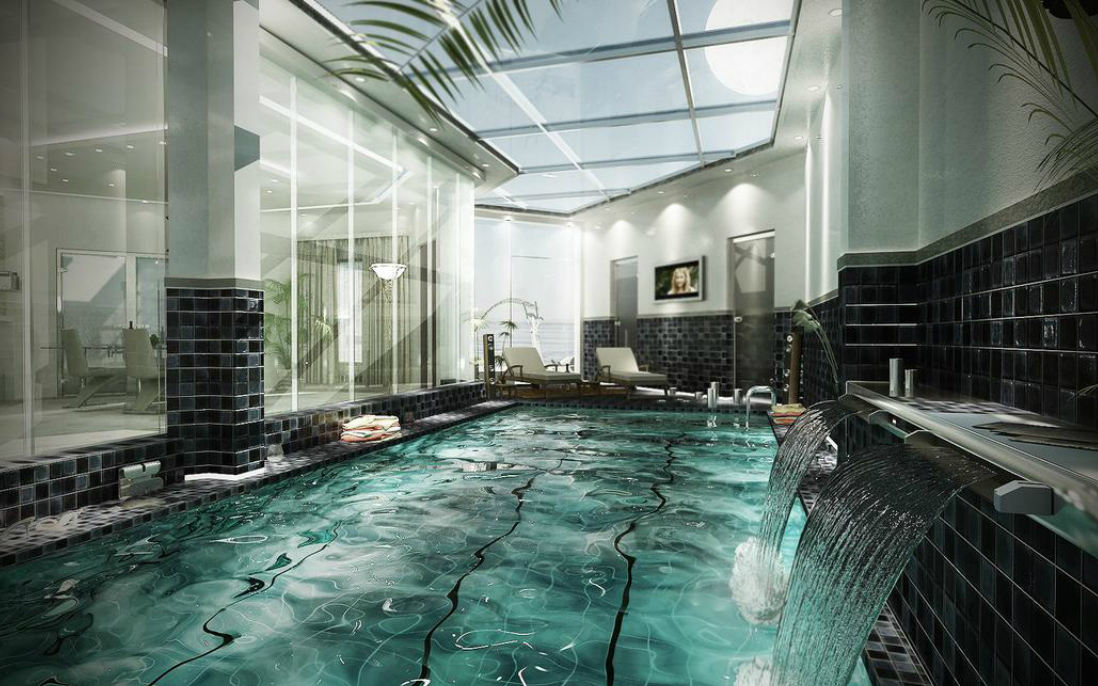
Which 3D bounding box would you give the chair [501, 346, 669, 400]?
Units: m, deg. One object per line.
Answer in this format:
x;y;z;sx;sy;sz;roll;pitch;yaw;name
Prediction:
0.554;0.526;11.472;2.985;0.834;1.520;1;8;-3;chair

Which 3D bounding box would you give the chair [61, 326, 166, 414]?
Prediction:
-3.338;0.204;4.659;0.678;0.692;0.585;1;-1;-44;chair

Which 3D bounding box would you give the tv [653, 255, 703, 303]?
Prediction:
2.642;-1.263;12.120;0.154;0.847;1.587;-2;2;-24;tv
